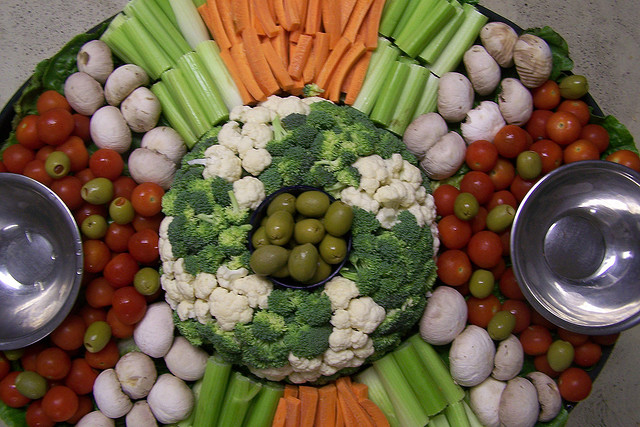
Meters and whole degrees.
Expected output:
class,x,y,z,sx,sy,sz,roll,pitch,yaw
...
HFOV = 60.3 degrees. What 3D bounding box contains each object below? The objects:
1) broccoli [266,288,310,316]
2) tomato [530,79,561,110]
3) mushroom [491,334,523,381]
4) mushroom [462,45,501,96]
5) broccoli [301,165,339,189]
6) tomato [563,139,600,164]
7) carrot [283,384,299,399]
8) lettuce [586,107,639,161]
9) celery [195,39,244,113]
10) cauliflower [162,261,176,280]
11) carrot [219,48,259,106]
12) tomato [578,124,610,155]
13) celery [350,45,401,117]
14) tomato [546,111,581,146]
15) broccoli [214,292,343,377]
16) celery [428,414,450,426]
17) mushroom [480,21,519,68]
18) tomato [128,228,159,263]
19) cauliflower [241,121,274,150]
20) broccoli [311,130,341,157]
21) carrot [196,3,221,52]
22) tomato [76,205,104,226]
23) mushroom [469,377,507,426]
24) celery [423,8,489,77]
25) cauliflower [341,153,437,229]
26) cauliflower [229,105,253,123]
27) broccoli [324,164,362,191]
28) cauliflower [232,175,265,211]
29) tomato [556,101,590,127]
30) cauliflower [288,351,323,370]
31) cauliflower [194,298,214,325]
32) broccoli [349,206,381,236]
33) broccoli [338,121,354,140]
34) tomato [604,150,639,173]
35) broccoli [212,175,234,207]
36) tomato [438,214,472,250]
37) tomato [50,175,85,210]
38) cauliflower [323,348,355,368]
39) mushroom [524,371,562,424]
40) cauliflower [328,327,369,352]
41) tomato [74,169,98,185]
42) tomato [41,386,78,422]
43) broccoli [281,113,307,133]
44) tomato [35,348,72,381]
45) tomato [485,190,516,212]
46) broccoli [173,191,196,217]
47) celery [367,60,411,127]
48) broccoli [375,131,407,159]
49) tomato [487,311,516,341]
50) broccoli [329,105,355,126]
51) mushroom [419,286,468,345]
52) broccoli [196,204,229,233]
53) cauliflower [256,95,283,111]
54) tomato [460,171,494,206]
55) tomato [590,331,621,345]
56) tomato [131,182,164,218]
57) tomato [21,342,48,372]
class,x,y,z,sx,sy,sz,roll,pitch,yaw
broccoli,-0.160,0.418,2.612,0.163,0.047,0.125,-23,91,1
tomato,1.236,-0.644,3.008,0.155,0.150,0.157,-13,102,4
mushroom,0.963,0.760,2.933,0.107,0.196,0.196,7,61,-7
mushroom,0.884,-0.786,3.010,0.142,0.190,0.255,-30,94,-38
broccoli,-0.006,-0.179,2.734,0.125,0.040,0.125,18,86,4
tomato,1.407,-0.348,2.951,0.141,0.137,0.141,3,102,25
carrot,-0.149,0.940,2.920,0.064,0.064,0.067,3,85,0
lettuce,1.615,-0.449,3.095,0.320,0.123,0.330,19,60,-5
celery,-0.553,-0.769,3.096,0.162,0.134,0.505,-30,95,-4
cauliflower,-0.776,0.290,2.837,0.036,0.069,0.091,-3,88,-44
carrot,-0.376,-0.730,2.902,0.093,0.416,0.104,29,63,13
tomato,1.481,-0.412,3.041,0.157,0.158,0.189,0,99,22
celery,0.334,-0.738,3.176,0.158,0.570,0.146,13,61,8
tomato,1.298,-0.462,2.949,0.169,0.172,0.169,5,54,9
broccoli,-0.199,0.568,2.757,0.533,0.153,0.364,-21,67,18
celery,0.648,1.130,3.019,0.087,0.029,0.084,0,89,-11
mushroom,1.016,-0.936,3.024,0.080,0.226,0.256,-17,46,-19
tomato,-0.931,0.170,2.928,0.163,0.067,0.172,3,81,-1
cauliflower,-0.316,-0.413,2.826,0.159,0.040,0.129,43,82,5
broccoli,0.031,-0.351,2.780,0.115,0.036,0.144,34,82,4
carrot,-0.626,-1.052,3.078,0.050,0.079,0.296,-34,102,-41
tomato,-1.239,-0.003,2.962,0.145,0.054,0.087,-27,83,-5
mushroom,0.897,1.006,3.024,0.238,0.129,0.236,-3,90,-19
celery,0.780,-0.957,3.138,0.210,0.138,0.418,36,96,16
cauliflower,0.340,-0.122,2.757,0.401,0.124,0.400,0,81,-24
cauliflower,-0.418,-0.529,2.894,0.097,0.032,0.098,-24,121,-3
broccoli,0.124,-0.177,2.725,0.133,0.102,0.058,-10,106,21
cauliflower,-0.348,-0.099,2.727,0.161,0.063,0.161,-7,88,-6
tomato,1.405,-0.552,3.064,0.129,0.129,0.125,7,96,14
cauliflower,-0.069,0.715,2.749,0.115,0.113,0.045,10,77,-40
cauliflower,-0.589,0.494,2.782,0.089,0.045,0.135,-15,97,19
broccoli,0.228,0.039,2.706,0.146,0.051,0.146,5,81,-1
broccoli,0.132,-0.426,2.823,0.083,0.046,0.099,-6,84,-8
tomato,1.624,-0.297,2.969,0.149,0.148,0.139,-1,109,25
broccoli,-0.484,-0.113,2.782,0.108,0.058,0.134,-7,77,-7
tomato,0.718,0.098,3.026,0.166,0.172,0.192,4,115,6
tomato,-1.314,-0.123,2.912,0.173,0.172,0.208,-5,95,5
cauliflower,0.094,0.729,2.769,0.116,0.047,0.104,14,104,-4
mushroom,1.213,0.976,3.018,0.128,0.231,0.231,-27,84,-17
cauliflower,0.142,0.622,2.729,0.166,0.050,0.117,-6,103,-21
tomato,-1.264,-0.207,2.984,0.091,0.091,0.109,-4,85,3
tomato,-1.353,0.997,2.883,0.170,0.180,0.202,1,90,-26
broccoli,-0.136,-0.474,2.820,0.100,0.030,0.099,-36,68,-4
tomato,-1.404,0.802,2.944,0.190,0.178,0.182,4,112,-28
tomato,0.978,-0.079,3.027,0.123,0.119,0.120,-28,118,-2
broccoli,-0.679,-0.050,2.758,0.100,0.059,0.112,1,83,5
celery,0.390,-0.646,3.093,0.143,0.151,0.489,22,101,10
broccoli,0.367,-0.348,2.881,0.147,0.067,0.147,10,62,-11
tomato,0.958,0.590,2.918,0.131,0.060,0.153,6,81,-1
broccoli,0.116,-0.508,2.865,0.103,0.031,0.103,30,62,3
mushroom,0.674,0.590,3.001,0.315,0.266,0.169,8,42,-6
broccoli,-0.524,0.019,2.713,0.132,0.062,0.117,22,80,8
cauliflower,-0.262,-0.598,2.951,0.092,0.030,0.094,5,101,-31
tomato,0.832,-0.136,2.998,0.182,0.166,0.175,14,86,-26
tomato,1.540,0.676,2.980,0.124,0.126,0.061,-10,54,26
tomato,-0.924,-0.077,2.980,0.186,0.197,0.186,4,74,-15
tomato,-1.536,0.757,2.975,0.142,0.133,0.143,-4,90,-1
